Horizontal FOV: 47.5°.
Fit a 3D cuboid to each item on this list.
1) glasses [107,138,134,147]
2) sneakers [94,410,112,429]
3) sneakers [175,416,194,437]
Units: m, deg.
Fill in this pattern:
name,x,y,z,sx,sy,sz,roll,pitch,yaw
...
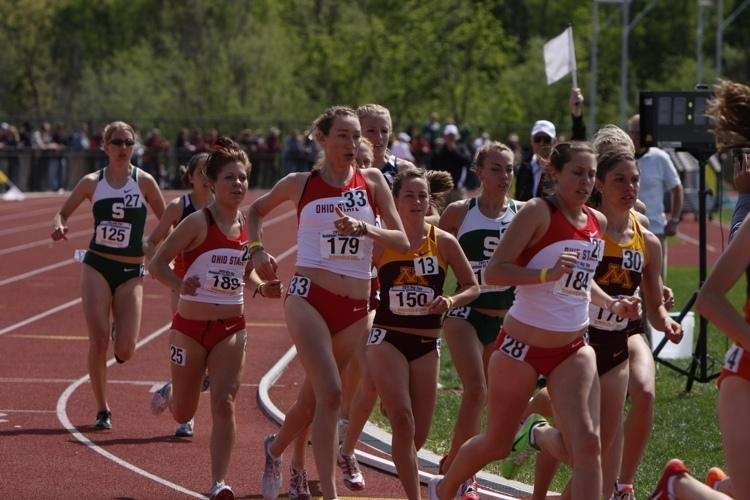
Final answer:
name,x,y,z,sx,sy,sz,roll,pitch,yaw
glasses,-2.701,-1.135,9.100,0.262,0.080,0.060,-4,9,-22
sneakers,-2.743,1.691,8.630,0.161,0.175,0.171,-4,9,-24
sneakers,-1.926,1.745,8.624,0.183,0.177,0.351,-2,9,-13
